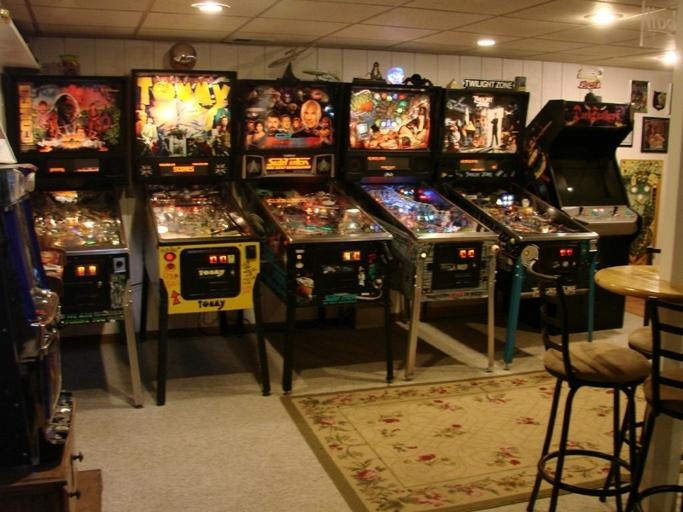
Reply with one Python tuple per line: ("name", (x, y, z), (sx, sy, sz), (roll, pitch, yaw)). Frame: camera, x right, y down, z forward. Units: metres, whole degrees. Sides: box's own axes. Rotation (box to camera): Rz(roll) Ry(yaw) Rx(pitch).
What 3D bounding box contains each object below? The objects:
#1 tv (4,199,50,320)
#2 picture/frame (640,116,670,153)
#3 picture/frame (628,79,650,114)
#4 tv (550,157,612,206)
("tv", (-1.292, 0.005, 2.333), (0.091, 0.470, 0.385), (-9, 10, -23))
("picture/frame", (4.102, -1.582, 7.425), (0.450, 0.478, 0.126), (-8, 11, -30))
("picture/frame", (3.780, -2.023, 7.205), (0.345, 0.402, 0.057), (-9, 11, -33))
("tv", (2.496, -0.772, 5.969), (0.795, 0.536, 0.340), (1, -17, -16))
